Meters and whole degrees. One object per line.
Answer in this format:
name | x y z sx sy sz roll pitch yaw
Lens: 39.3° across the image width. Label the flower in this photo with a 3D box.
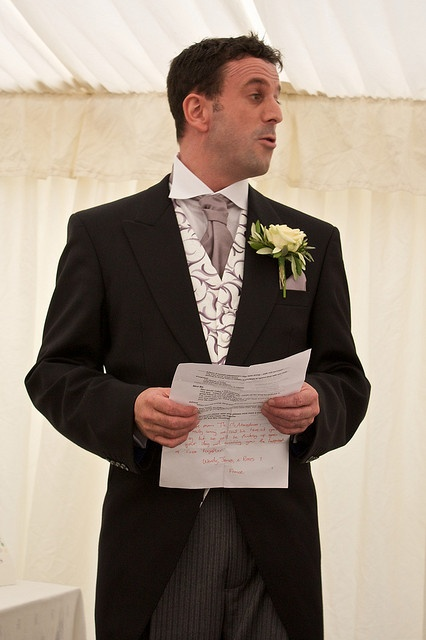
flower | 0.148 -0.123 1.362 0.172 0.172 0.116 1 -2 -39
